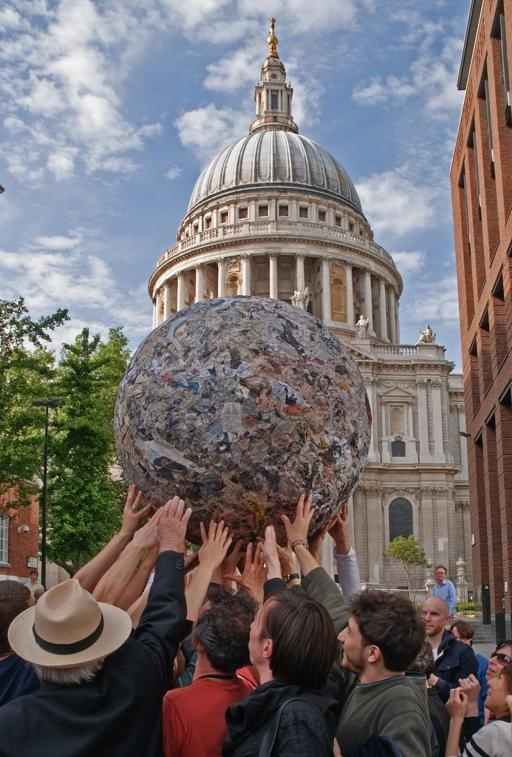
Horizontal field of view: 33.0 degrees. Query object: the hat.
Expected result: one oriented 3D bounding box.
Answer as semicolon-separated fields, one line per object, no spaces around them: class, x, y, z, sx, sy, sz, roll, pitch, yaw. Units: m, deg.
hat;-0.649;0.881;3.087;0.370;0.140;0.392;8;21;25
